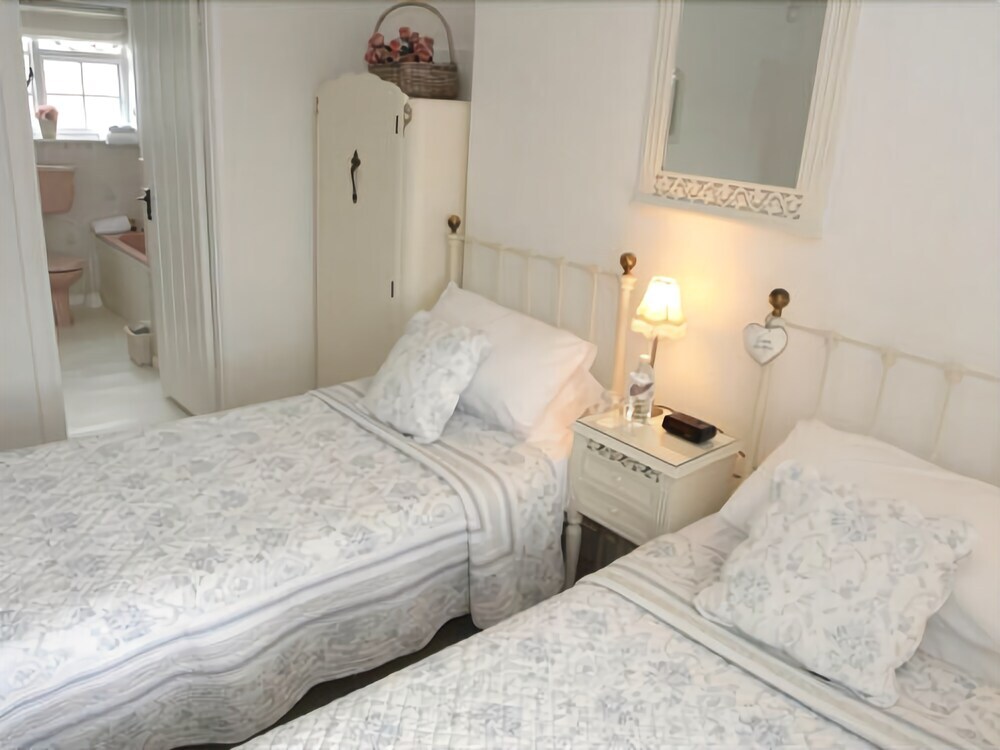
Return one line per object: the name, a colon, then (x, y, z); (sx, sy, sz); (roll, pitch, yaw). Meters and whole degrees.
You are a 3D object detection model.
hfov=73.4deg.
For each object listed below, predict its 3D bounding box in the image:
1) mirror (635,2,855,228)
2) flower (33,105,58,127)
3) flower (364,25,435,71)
mirror: (0.844, -0.884, 2.252); (0.673, 0.868, 0.037); (25, 30, 37)
flower: (-3.581, -2.038, 5.283); (0.132, 0.140, 0.133); (-5, 12, -30)
flower: (-0.480, -1.571, 3.237); (0.308, 0.161, 0.269); (11, 23, -25)
